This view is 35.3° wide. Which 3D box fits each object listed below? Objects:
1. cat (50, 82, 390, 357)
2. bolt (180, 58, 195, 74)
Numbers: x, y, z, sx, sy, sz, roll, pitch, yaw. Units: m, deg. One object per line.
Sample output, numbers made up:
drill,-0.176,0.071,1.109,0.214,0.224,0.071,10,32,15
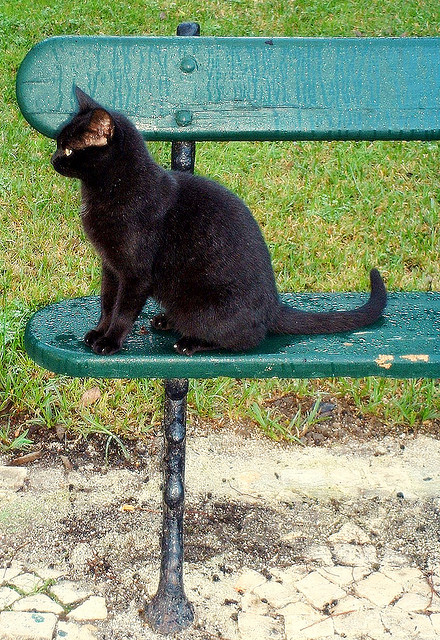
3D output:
cat,0.021,-0.188,1.709,0.847,0.530,0.285,7,21,-2
bolt,-0.093,-0.719,1.962,0.039,0.021,0.035,-1,60,-10
